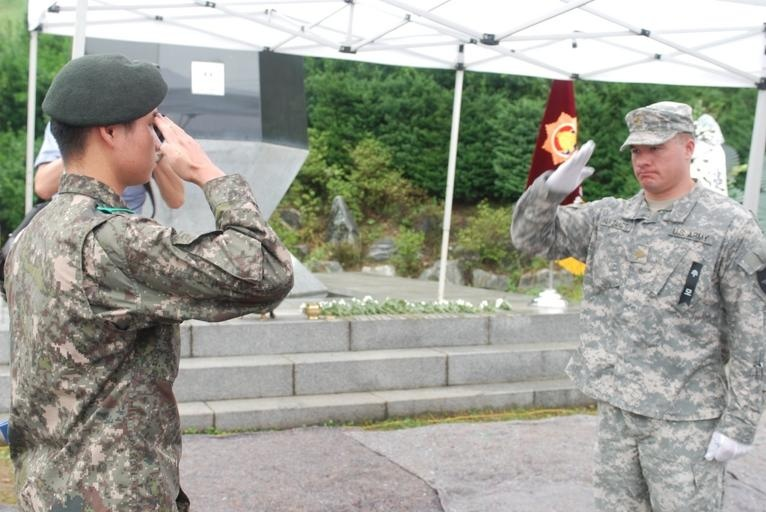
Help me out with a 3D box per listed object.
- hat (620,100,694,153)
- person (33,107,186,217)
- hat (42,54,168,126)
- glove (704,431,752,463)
[{"bbox_3d":[2.022,-1.002,8.225,0.459,0.284,0.616,-7,9,42],"label":"hat"},{"bbox_3d":[-1.864,-0.627,7.468,0.664,0.847,0.809,9,-25,-8],"label":"person"},{"bbox_3d":[-1.778,-1.076,7.055,0.659,0.236,0.464,-11,43,-15],"label":"hat"},{"bbox_3d":[2.446,1.387,7.877,0.246,0.229,0.100,16,7,8],"label":"glove"}]
